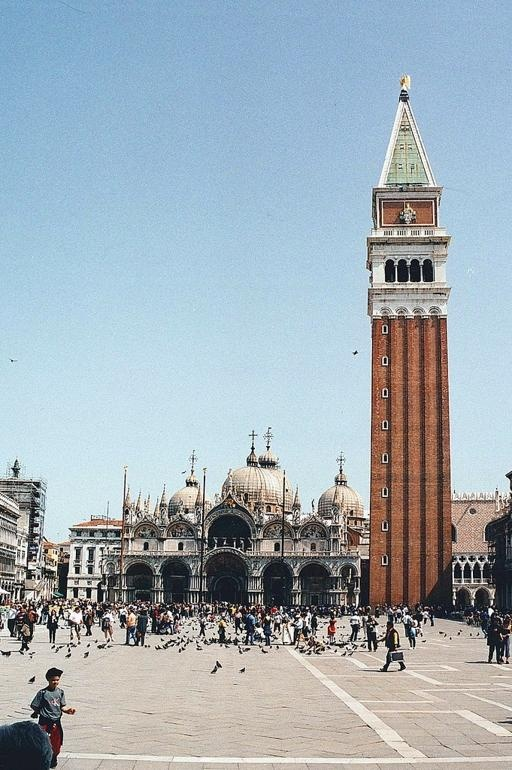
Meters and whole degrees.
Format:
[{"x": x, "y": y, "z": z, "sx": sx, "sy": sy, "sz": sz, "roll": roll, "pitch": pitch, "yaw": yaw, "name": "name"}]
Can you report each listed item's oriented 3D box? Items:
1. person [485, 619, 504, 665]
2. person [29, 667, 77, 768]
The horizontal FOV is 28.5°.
[{"x": 7.280, "y": 7.893, "z": 30.812, "sx": 0.459, "sy": 1.387, "sz": 1.280, "roll": -2, "pitch": -13, "yaw": 12, "name": "person"}, {"x": -2.692, "y": 4.353, "z": 13.356, "sx": 0.686, "sy": 1.653, "sz": 0.735, "roll": 4, "pitch": -15, "yaw": -11, "name": "person"}]
